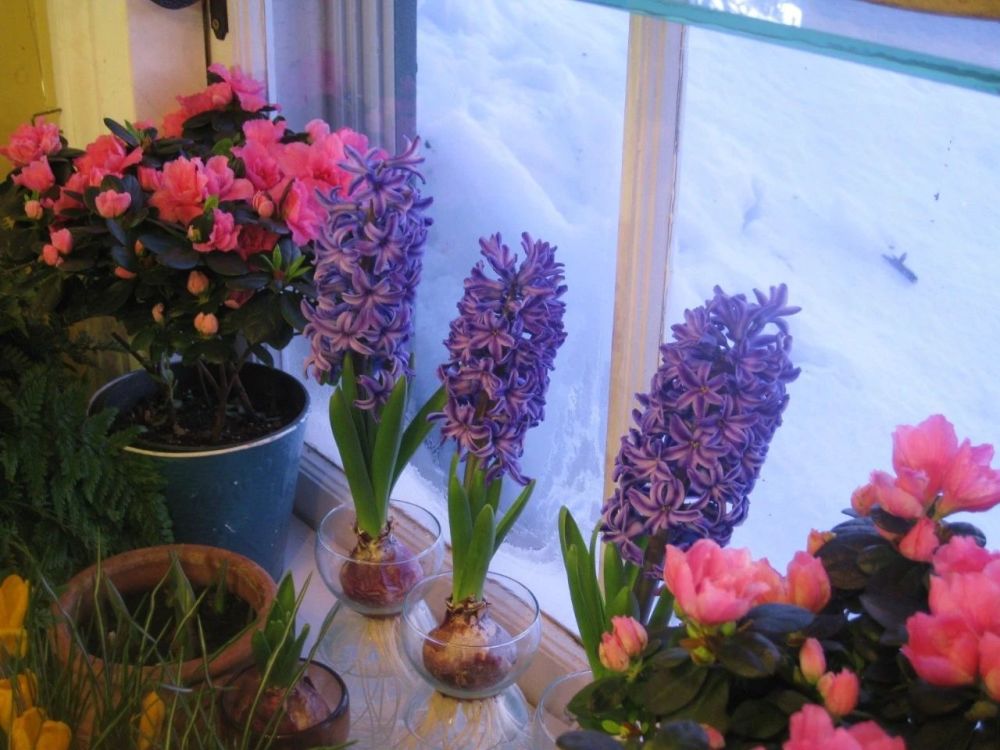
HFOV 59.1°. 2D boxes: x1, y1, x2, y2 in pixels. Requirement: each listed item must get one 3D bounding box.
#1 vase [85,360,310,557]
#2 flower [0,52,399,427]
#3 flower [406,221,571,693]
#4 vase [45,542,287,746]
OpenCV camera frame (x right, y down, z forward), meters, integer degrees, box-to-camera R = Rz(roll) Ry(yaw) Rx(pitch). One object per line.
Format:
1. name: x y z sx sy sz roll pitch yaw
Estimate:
1. vase: -0.404 0.147 1.309 0.251 0.228 0.254 6 24 -7
2. flower: -0.431 -0.177 1.305 0.390 0.356 0.435 -1 54 -5
3. flower: 0.000 0.104 1.004 0.154 0.565 0.247 11 24 5
4. vase: -0.324 0.262 0.897 0.216 0.182 0.238 3 28 -13
